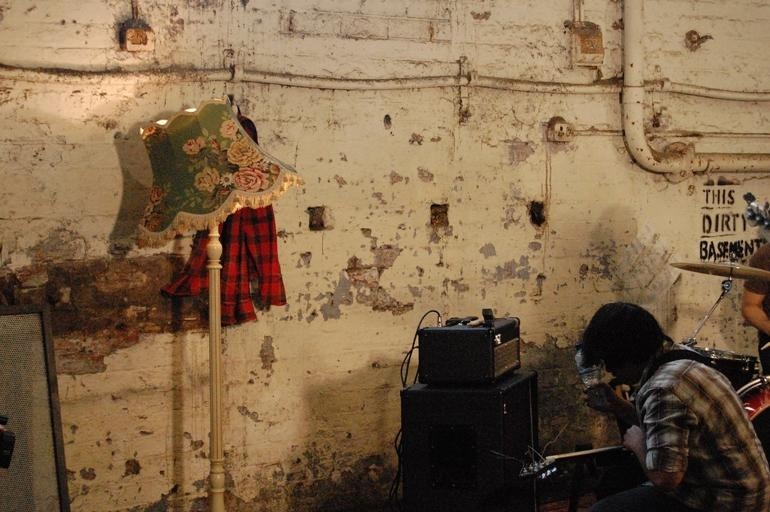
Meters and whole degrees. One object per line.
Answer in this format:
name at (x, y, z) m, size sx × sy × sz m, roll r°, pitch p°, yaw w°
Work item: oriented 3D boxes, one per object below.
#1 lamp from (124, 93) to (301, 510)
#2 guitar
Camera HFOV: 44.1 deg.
lamp at (-0.964, 0.302, 5.631) m, size 0.912 × 2.440 × 0.617 m, roll -1°, pitch -7°, yaw 7°
guitar at (1.131, 1.185, 5.683) m, size 0.602 × 0.054 × 0.165 m, roll -21°, pitch -58°, yaw 27°
